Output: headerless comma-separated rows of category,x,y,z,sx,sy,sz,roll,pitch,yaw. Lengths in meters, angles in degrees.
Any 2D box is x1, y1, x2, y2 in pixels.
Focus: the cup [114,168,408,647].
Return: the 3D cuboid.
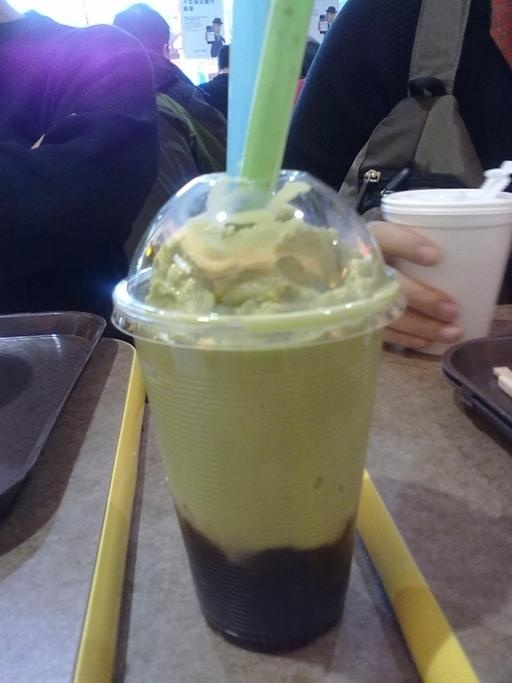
cup,0.003,0.049,0.369,0.187,0.311,0.184,2,32,-1
